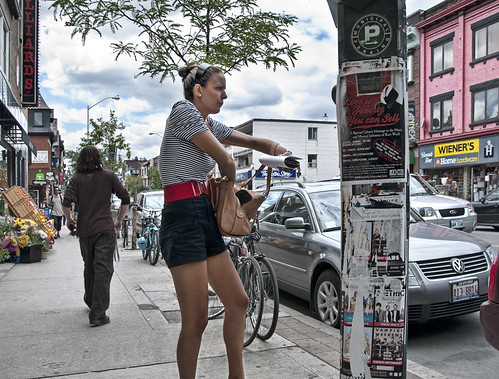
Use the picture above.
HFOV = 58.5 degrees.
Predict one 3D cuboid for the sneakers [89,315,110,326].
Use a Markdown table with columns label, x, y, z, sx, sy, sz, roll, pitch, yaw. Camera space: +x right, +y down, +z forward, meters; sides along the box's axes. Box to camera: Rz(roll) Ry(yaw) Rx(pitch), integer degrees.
| label | x | y | z | sx | sy | sz | roll | pitch | yaw |
| --- | --- | --- | --- | --- | --- | --- | --- | --- | --- |
| sneakers | -1.877 | 1.645 | 5.658 | 0.092 | 0.112 | 0.236 | 7 | 10 | 42 |

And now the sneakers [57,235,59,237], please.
| label | x | y | z | sx | sy | sz | roll | pitch | yaw |
| --- | --- | --- | --- | --- | --- | --- | --- | --- | --- |
| sneakers | -7.659 | 1.850 | 17.910 | 0.103 | 0.051 | 0.140 | 0 | 4 | -32 |

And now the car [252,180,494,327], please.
| label | x | y | z | sx | sy | sz | roll | pitch | yaw |
| --- | --- | --- | --- | --- | --- | --- | --- | --- | --- |
| car | 1.279 | 0.748 | 6.565 | 1.645 | 1.355 | 3.832 | 3 | -5 | -33 |

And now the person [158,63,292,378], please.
| label | x | y | z | sx | sy | sz | roll | pitch | yaw |
| --- | --- | --- | --- | --- | --- | --- | --- | --- | --- |
| person | -0.296 | 0.273 | 3.502 | 0.769 | 2.536 | 0.601 | -2 | 2 | -28 |

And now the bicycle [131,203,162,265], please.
| label | x | y | z | sx | sy | sz | roll | pitch | yaw |
| --- | --- | --- | --- | --- | --- | --- | --- | --- | --- |
| bicycle | -2.511 | 1.088 | 11.356 | 1.085 | 1.429 | 2.494 | 4 | -5 | -18 |

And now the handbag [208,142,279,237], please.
| label | x | y | z | sx | sy | sz | roll | pitch | yaw |
| --- | --- | --- | --- | --- | --- | --- | --- | --- | --- |
| handbag | -0.099 | 0.005 | 3.749 | 0.509 | 0.788 | 0.584 | 16 | -9 | -24 |

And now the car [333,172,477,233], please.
| label | x | y | z | sx | sy | sz | roll | pitch | yaw |
| --- | --- | --- | --- | --- | --- | --- | --- | --- | --- |
| car | 3.982 | 0.376 | 11.560 | 3.166 | 1.561 | 1.803 | -4 | 1 | 11 |

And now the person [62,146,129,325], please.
| label | x | y | z | sx | sy | sz | roll | pitch | yaw |
| --- | --- | --- | --- | --- | --- | --- | --- | --- | --- |
| person | -2.005 | 0.539 | 5.977 | 0.784 | 2.291 | 0.733 | 0 | 2 | 32 |
